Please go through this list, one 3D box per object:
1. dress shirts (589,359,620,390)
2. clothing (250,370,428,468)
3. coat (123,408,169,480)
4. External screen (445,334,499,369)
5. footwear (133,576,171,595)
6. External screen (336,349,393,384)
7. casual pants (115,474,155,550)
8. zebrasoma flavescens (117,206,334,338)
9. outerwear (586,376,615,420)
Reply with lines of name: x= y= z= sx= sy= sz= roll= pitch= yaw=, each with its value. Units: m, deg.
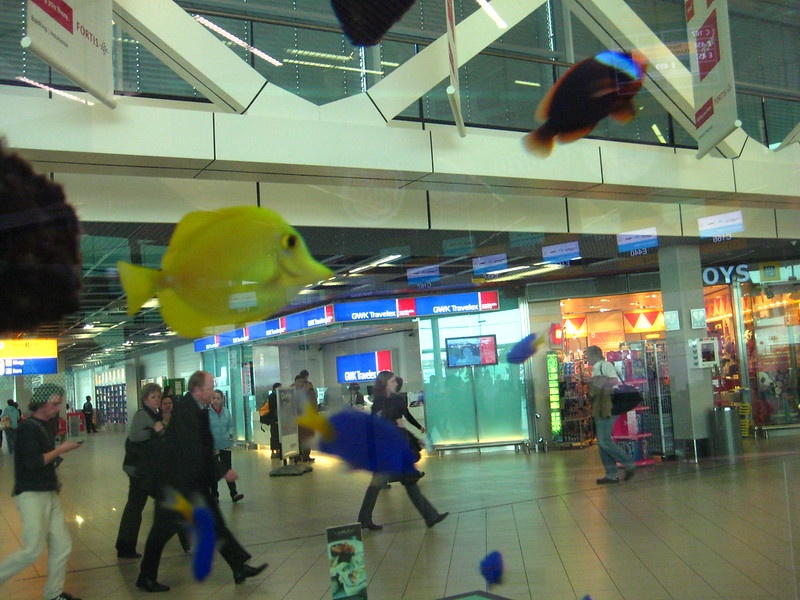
dress shirts: x=0.906 y=0.328 z=3.069 sx=0.127 sy=0.124 sz=0.118 roll=-7 pitch=-5 yaw=-18
clothing: x=-0.264 y=0.498 z=2.800 sx=0.785 sy=0.365 sz=0.158 roll=25 pitch=-8 yaw=-34
coat: x=-0.830 y=0.470 z=2.412 sx=0.184 sy=0.265 sz=0.216 roll=-4 pitch=-4 yaw=-13
External screen: x=0.300 y=0.212 z=2.934 sx=0.074 sy=0.129 sz=0.295 roll=-12 pitch=-10 yaw=44
footwear: x=-0.920 y=1.044 z=2.597 sx=0.171 sy=0.072 sz=0.062 roll=2 pitch=-7 yaw=-10
External screen: x=-0.129 y=0.248 z=2.643 sx=0.214 sy=0.117 sz=0.068 roll=0 pitch=-9 yaw=-34
casual pants: x=-0.869 y=0.679 z=2.313 sx=0.118 sy=0.351 sz=0.102 roll=2 pitch=35 yaw=-17
zebrasoma flavescens: x=-0.571 y=-0.087 z=2.194 sx=0.438 sy=0.260 sz=0.075 roll=-10 pitch=2 yaw=-29
outerwear: x=0.897 y=0.423 z=3.096 sx=0.130 sy=0.184 sz=0.039 roll=-3 pitch=-8 yaw=-19
